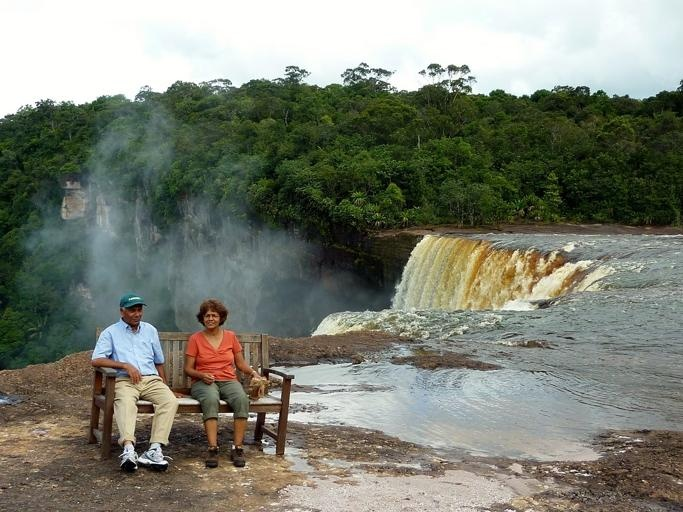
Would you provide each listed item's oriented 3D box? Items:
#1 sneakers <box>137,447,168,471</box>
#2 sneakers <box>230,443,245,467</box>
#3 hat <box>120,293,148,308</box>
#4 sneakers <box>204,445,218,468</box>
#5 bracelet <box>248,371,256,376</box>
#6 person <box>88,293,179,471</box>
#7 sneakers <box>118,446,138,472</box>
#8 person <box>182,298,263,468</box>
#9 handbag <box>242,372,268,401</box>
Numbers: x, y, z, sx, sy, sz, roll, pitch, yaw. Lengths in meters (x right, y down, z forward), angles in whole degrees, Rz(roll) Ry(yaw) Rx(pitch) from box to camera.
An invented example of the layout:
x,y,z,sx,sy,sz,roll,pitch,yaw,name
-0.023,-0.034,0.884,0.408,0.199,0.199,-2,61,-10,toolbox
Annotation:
x,y,z,sx,sy,sz,roll,pitch,yaw,name
-1.538,1.681,4.387,0.241,0.172,0.150,1,4,-12,sneakers
-0.883,1.744,4.609,0.089,0.079,0.217,3,-5,-18,sneakers
-1.993,0.425,5.118,0.188,0.112,0.246,4,-11,-38,hat
-1.088,1.718,4.542,0.111,0.143,0.185,1,3,-13,sneakers
-0.858,1.143,5.193,0.061,0.022,0.070,3,20,-7,bracelet
-1.827,1.048,4.763,0.691,1.364,1.140,0,4,-24,person
-1.695,1.650,4.280,0.117,0.114,0.270,3,-17,-21,sneakers
-1.096,1.151,5.026,0.719,1.449,1.130,1,4,-15,person
-0.808,1.241,5.127,0.288,0.240,0.217,1,1,-30,handbag
